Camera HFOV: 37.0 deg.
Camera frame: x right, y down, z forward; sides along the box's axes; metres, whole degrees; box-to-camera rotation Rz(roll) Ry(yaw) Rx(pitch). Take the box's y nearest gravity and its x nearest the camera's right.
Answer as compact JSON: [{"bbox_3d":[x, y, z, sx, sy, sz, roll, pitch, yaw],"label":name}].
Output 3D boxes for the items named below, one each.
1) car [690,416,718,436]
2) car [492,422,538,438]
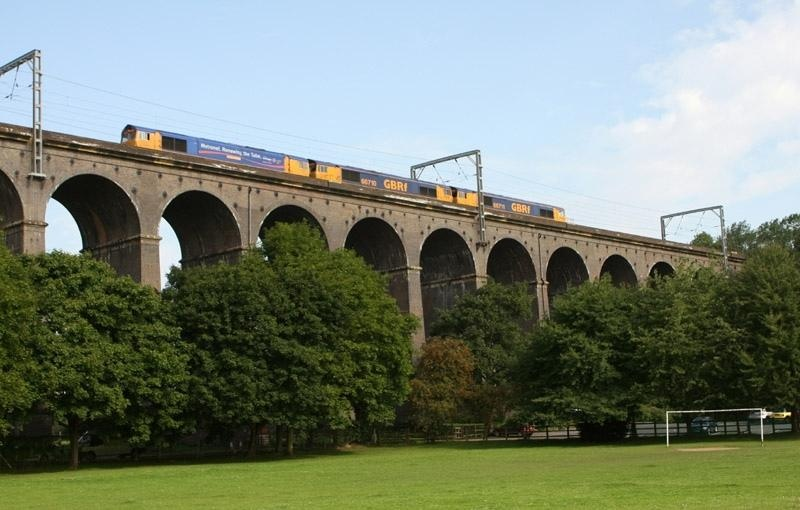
[{"bbox_3d":[19.654,10.999,76.950,1.118,0.803,1.704,0,-5,9],"label":"car"},{"bbox_3d":[7.481,11.986,80.221,2.918,0.794,3.798,-4,-11,11],"label":"car"}]
